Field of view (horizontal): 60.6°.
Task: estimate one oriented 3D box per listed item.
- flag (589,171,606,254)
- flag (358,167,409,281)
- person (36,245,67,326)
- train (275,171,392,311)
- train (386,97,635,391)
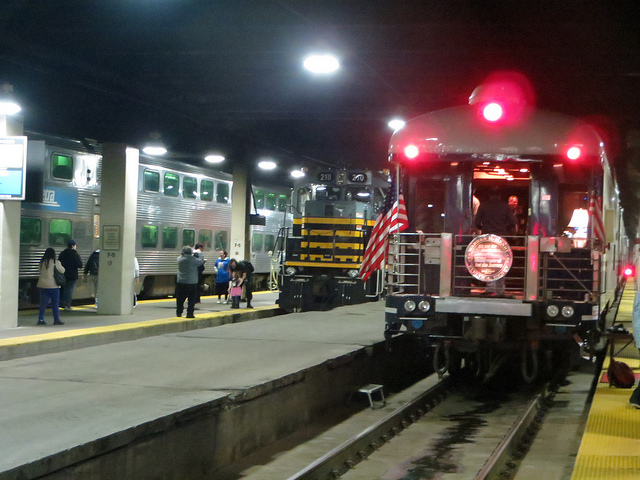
[{"bbox_3d":[4.401,-0.439,8.562,0.466,1.350,0.172,3,1,-42],"label":"flag"},{"bbox_3d":[1.157,-0.259,9.493,0.419,1.890,1.075,3,1,-15],"label":"flag"},{"bbox_3d":[-6.667,1.167,13.494,0.605,1.714,1.371,3,1,-27],"label":"person"},{"bbox_3d":[-0.168,0.169,15.472,2.072,3.462,6.627,1,0,16],"label":"train"},{"bbox_3d":[2.946,0.257,9.239,3.556,4.966,2.764,4,1,5],"label":"train"}]
